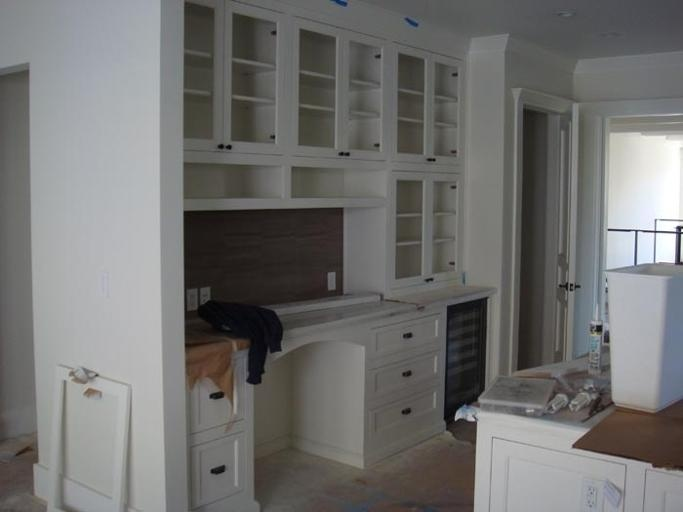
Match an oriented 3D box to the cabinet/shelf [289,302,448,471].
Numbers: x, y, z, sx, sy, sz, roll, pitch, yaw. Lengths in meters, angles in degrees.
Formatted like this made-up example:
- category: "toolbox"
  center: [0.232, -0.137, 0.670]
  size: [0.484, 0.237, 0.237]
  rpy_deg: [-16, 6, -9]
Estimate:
- category: "cabinet/shelf"
  center: [0.267, 0.923, 4.234]
  size: [1.100, 1.136, 0.672]
  rpy_deg: [-5, 9, -44]
